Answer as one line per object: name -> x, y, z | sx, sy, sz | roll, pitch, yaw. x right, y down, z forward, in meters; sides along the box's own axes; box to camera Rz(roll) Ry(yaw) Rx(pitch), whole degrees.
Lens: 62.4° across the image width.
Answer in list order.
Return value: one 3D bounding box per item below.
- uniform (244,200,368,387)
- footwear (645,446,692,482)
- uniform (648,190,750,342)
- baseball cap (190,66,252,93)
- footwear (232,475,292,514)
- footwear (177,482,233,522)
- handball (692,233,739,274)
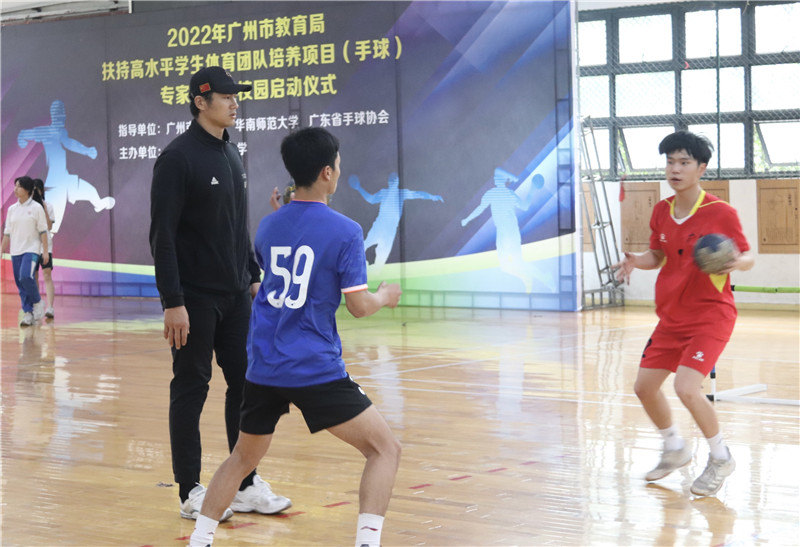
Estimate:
uniform -> -0.344, 0.062, 2.359 | 0.482, 0.656, 0.225 | 0, 3, 9
footwear -> 1.455, 1.018, 3.582 | 0.305, 0.122, 0.099 | -20, 2, -10
uniform -> 1.576, -0.074, 3.508 | 0.376, 0.727, 0.465 | -1, 3, -9
baseball cap -> -0.824, -0.866, 3.033 | 0.236, 0.091, 0.149 | -3, 10, 1
footwear -> -0.681, 1.072, 3.209 | 0.331, 0.173, 0.126 | -5, -2, 26
footwear -> -0.884, 1.054, 3.017 | 0.274, 0.141, 0.096 | -4, -10, 20
handball -> 1.530, -0.097, 3.271 | 0.191, 0.215, 0.197 | -4, 1, 9
